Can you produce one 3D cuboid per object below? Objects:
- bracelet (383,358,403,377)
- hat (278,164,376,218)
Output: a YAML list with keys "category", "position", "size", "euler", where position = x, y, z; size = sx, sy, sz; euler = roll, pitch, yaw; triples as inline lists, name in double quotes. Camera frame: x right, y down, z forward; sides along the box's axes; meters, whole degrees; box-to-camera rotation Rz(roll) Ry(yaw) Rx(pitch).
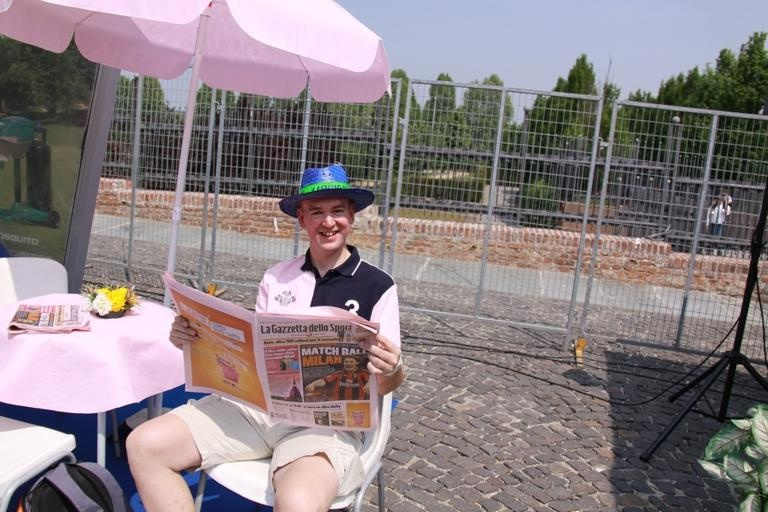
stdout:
- category: "bracelet"
  position: [0.062, 0.726, 3.959]
  size: [0.095, 0.120, 0.127]
  euler: [-2, -2, -2]
- category: "hat"
  position: [-0.412, -0.542, 4.450]
  size: [0.647, 0.254, 0.596]
  euler: [-2, 0, -33]
